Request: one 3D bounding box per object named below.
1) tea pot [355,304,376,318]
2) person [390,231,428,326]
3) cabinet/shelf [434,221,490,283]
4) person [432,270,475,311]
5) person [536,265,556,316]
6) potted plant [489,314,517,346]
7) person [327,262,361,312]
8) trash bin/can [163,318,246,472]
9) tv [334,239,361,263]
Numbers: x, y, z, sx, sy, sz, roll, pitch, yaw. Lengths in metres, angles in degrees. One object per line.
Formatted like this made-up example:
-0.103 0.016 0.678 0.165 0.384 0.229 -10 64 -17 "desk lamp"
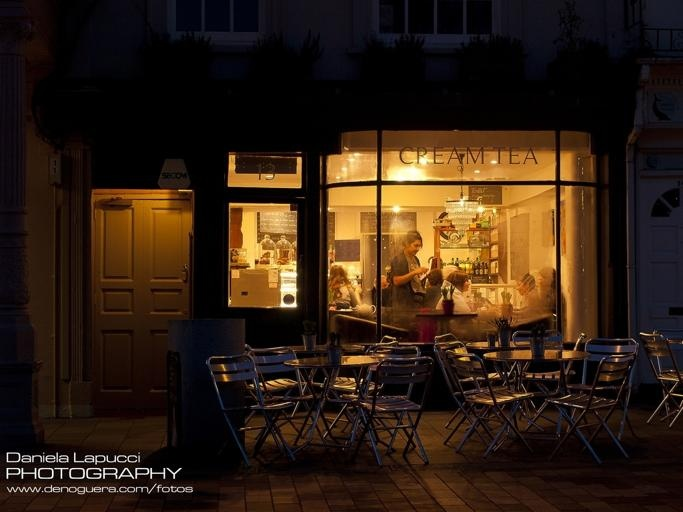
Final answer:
0.337 0.783 12.073 0.243 0.182 0.193 0 -4 2 "tea pot"
0.961 0.317 12.205 0.554 1.331 0.165 -2 2 0 "person"
1.762 -0.077 12.253 0.865 1.004 0.376 0 -3 -1 "cabinet/shelf"
1.638 0.576 12.375 0.472 0.784 0.607 2 8 -8 "person"
2.970 0.546 12.349 0.296 0.934 0.220 -6 22 0 "person"
2.021 0.982 11.042 0.331 0.466 0.363 -2 -5 36 "potted plant"
-0.088 0.450 12.389 0.608 0.853 0.558 -3 4 -17 "person"
-1.509 1.476 9.391 0.869 1.537 0.636 -2 2 -13 "trash bin/can"
0.072 -0.086 12.230 0.362 0.323 0.062 -1 2 11 "tv"
